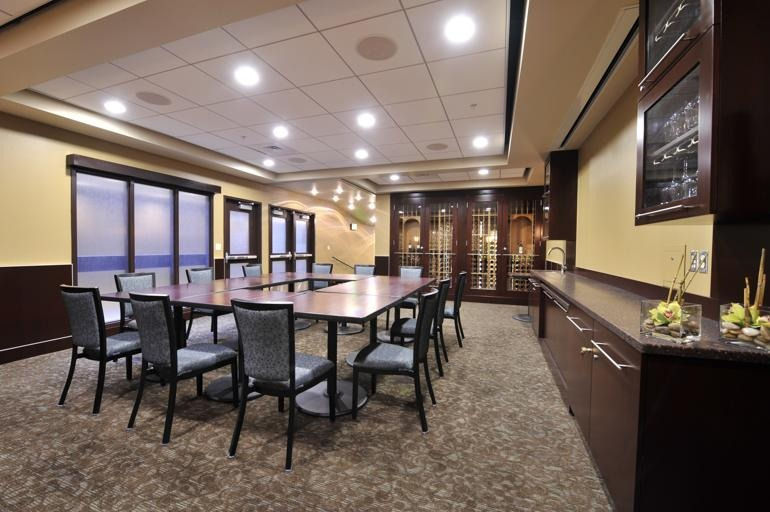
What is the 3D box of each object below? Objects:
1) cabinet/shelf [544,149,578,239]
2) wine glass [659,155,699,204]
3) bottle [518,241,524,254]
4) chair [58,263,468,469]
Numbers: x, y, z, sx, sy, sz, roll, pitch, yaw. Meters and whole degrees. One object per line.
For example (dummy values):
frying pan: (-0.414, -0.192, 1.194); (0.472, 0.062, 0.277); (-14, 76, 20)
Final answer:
cabinet/shelf: (2.219, -0.766, 6.081); (0.409, 1.154, 0.256); (-1, 2, 25)
wine glass: (2.057, -0.516, 3.341); (0.107, 0.237, 0.266); (9, 6, -3)
bottle: (2.397, -0.160, 8.564); (0.089, 0.200, 0.032); (-1, 2, 25)
chair: (-1.017, 0.887, 4.602); (2.610, 1.299, 2.038); (-2, 2, 8)
